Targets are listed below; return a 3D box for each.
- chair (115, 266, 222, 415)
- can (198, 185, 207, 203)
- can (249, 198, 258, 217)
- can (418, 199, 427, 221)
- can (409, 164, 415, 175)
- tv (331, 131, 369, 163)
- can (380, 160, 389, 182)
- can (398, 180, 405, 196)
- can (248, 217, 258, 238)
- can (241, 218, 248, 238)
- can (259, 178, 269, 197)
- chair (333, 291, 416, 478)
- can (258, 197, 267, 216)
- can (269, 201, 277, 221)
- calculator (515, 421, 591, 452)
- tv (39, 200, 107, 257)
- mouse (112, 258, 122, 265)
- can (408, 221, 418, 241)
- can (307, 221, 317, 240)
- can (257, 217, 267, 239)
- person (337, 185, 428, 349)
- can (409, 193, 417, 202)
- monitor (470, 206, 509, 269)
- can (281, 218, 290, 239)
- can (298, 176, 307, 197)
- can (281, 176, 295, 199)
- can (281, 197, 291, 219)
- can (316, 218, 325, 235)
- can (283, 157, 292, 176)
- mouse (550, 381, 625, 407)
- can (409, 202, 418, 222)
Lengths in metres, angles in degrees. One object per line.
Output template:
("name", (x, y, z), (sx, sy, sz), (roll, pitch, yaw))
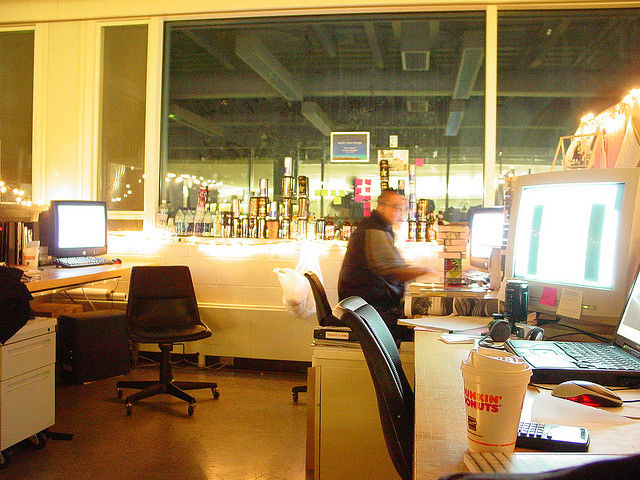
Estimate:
("chair", (-1.092, 0.717, 3.935), (0.812, 0.956, 0.812), (2, 0, -33))
("can", (-1.108, -0.438, 5.021), (0.076, 0.158, 0.203), (-1, 9, -14))
("can", (-0.595, -0.294, 4.809), (0.067, 0.169, 0.053), (0, 9, -8))
("can", (0.889, -0.258, 4.608), (0.079, 0.176, 0.074), (2, 9, 0))
("can", (0.813, -0.626, 4.697), (0.046, 0.089, 0.043), (1, 9, 0))
("tv", (0.290, -0.852, 4.867), (0.332, 0.253, 0.024), (1, 0, 5))
("can", (0.576, -0.618, 4.745), (0.085, 0.196, 0.067), (2, 9, 5))
("can", (0.718, -0.465, 4.691), (0.056, 0.130, 0.083), (2, 9, 4))
("can", (-0.599, -0.111, 4.779), (0.086, 0.167, 0.064), (1, 9, -4))
("can", (-0.677, -0.112, 4.789), (0.059, 0.168, 0.051), (1, 9, -5))
("can", (-0.510, -0.484, 4.891), (0.087, 0.170, 0.150), (1, 9, -6))
("chair", (0.207, 0.586, 2.058), (0.322, 0.663, 0.544), (3, 9, 8))
("can", (-0.516, -0.303, 4.820), (0.081, 0.163, 0.069), (0, 9, -9))
("can", (-0.418, -0.262, 4.795), (0.068, 0.169, 0.135), (1, 9, -6))
("calculator", (0.675, 0.601, 1.624), (0.250, 0.041, 0.136), (-3, 1, 25))
("tv", (-2.087, -0.088, 4.453), (0.294, 0.450, 0.529), (-3, -2, 32))
("mouse", (-1.689, 0.176, 4.445), (0.055, 0.022, 0.074), (3, 8, -25))
("can", (0.807, -0.081, 4.595), (0.073, 0.159, 0.061), (2, 9, 5))
("can", (-0.067, -0.086, 4.744), (0.087, 0.156, 0.080), (1, 9, 0))
("can", (-0.514, -0.112, 4.773), (0.085, 0.173, 0.090), (1, 9, 0))
("person", (0.517, 0.238, 3.745), (0.745, 1.205, 0.654), (-2, 6, 9))
("can", (0.813, -0.371, 4.634), (0.066, 0.075, 0.039), (2, 9, 4))
("monitor", (1.098, -0.013, 3.541), (0.137, 0.351, 0.562), (2, 0, 10))
("can", (-0.307, -0.106, 4.766), (0.073, 0.173, 0.085), (1, 9, -6))
("can", (-0.154, -0.484, 4.805), (0.081, 0.186, 0.058), (1, 9, -5))
("can", (-0.286, -0.483, 4.872), (0.109, 0.204, 0.137), (1, 9, -3))
("can", (-0.305, -0.290, 4.817), (0.083, 0.189, 0.087), (2, 9, 0))
("can", (0.007, -0.120, 4.790), (0.086, 0.135, 0.085), (1, 9, 0))
("can", (-0.288, -0.677, 4.887), (0.070, 0.167, 0.098), (1, 9, -6))
("mouse", (0.885, 0.511, 1.743), (0.171, 0.050, 0.104), (0, -4, 2))
("can", (0.814, -0.244, 4.617), (0.071, 0.151, 0.042), (2, 9, 5))
